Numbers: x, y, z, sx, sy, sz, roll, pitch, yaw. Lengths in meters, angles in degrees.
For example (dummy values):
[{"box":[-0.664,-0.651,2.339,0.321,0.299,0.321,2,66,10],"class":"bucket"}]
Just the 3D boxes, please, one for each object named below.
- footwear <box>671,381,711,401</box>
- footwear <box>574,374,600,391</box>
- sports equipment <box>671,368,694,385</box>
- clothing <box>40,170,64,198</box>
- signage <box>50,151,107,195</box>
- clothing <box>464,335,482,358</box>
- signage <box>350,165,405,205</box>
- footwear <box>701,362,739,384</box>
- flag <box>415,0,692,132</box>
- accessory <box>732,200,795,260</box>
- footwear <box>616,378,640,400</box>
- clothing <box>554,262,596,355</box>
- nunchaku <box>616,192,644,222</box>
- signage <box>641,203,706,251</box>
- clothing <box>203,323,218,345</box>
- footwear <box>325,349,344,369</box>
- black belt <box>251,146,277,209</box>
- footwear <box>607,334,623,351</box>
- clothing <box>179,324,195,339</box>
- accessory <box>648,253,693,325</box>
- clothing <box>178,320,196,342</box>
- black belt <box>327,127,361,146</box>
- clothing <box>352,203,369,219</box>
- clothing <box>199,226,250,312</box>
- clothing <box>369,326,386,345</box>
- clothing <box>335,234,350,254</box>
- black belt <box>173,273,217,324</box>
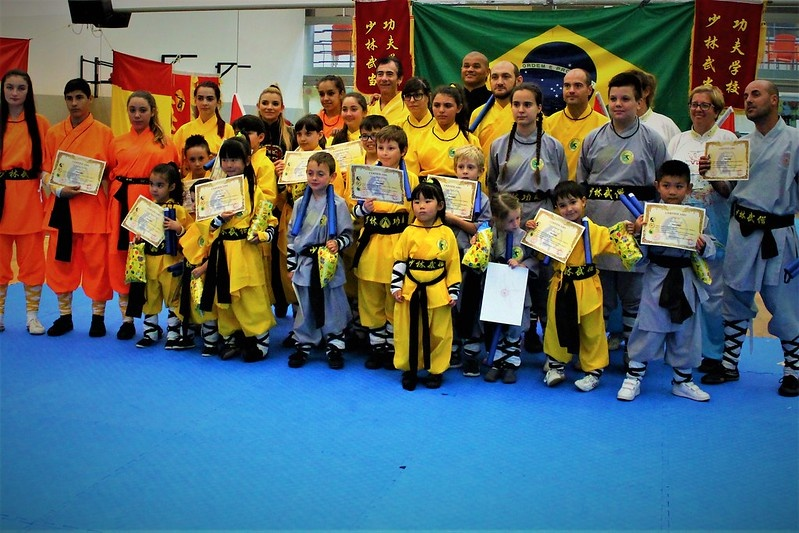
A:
[{"box":[2.233,0.964,5.210,0.302,0.110,0.109,5,13,32],"class":"footwear"},{"box":[1.467,0.919,5.293,0.201,0.078,0.099,3,-1,-41],"class":"footwear"},{"box":[2.175,0.845,5.187,0.164,0.145,0.122,-4,-4,21],"class":"sports equipment"},{"box":[-3.208,-0.783,6.201,0.246,0.228,0.066,9,19,30],"class":"clothing"},{"box":[-2.951,-0.870,6.143,0.412,0.265,0.041,15,0,-3],"class":"signage"},{"box":[0.607,0.672,5.653,0.195,0.170,0.138,-3,-1,-10],"class":"clothing"},{"box":[-0.180,-0.683,5.465,0.361,0.224,0.028,5,15,14],"class":"signage"},{"box":[2.596,0.864,5.451,0.378,0.143,0.130,-1,3,-16],"class":"footwear"},{"box":[1.690,-2.071,6.832,2.107,1.123,0.099,4,19,12],"class":"flag"},{"box":[2.839,-0.287,5.296,0.436,0.326,0.467,2,-1,-26],"class":"accessory"},{"box":[1.744,0.948,5.154,0.099,0.094,0.259,0,2,32],"class":"footwear"},{"box":[1.260,0.325,5.240,0.229,0.621,0.472,4,-9,-34],"class":"clothing"},{"box":[1.864,-0.502,5.425,0.079,0.066,0.285,24,19,-12],"class":"nunchaku"},{"box":[2.049,-0.303,5.028,0.377,0.241,0.036,8,0,14],"class":"signage"},{"box":[-1.667,0.582,5.901,0.174,0.208,0.124,-3,-20,-19],"class":"clothing"},{"box":[-0.551,0.780,5.669,0.144,0.133,0.332,1,-5,-6],"class":"footwear"},{"box":[-1.198,-0.837,5.897,0.320,0.400,0.155,-3,-1,2],"class":"black belt"},{"box":[1.947,0.685,6.077,0.085,0.089,0.211,-3,-7,31],"class":"footwear"},{"box":[-1.912,0.577,6.057,0.097,0.147,0.155,1,-7,6],"class":"clothing"},{"box":[2.067,0.152,5.135,0.318,0.520,0.152,2,3,20],"class":"accessory"},{"box":[-1.894,0.563,6.092,0.193,0.194,0.181,1,18,-10],"class":"clothing"},{"box":[-0.516,-1.222,6.282,0.264,0.086,0.252,0,9,7],"class":"black belt"},{"box":[-0.333,-0.478,5.647,0.115,0.050,0.147,0,19,6],"class":"clothing"},{"box":[-1.507,0.017,5.728,0.346,0.694,0.166,2,3,12],"class":"clothing"},{"box":[-0.187,0.584,5.767,0.168,0.146,0.152,0,7,8],"class":"clothing"},{"box":[-0.480,-0.210,5.664,0.122,0.157,0.058,15,-26,-4],"class":"clothing"},{"box":[-1.785,0.251,5.962,0.355,0.436,0.339,2,5,29],"class":"black belt"}]
